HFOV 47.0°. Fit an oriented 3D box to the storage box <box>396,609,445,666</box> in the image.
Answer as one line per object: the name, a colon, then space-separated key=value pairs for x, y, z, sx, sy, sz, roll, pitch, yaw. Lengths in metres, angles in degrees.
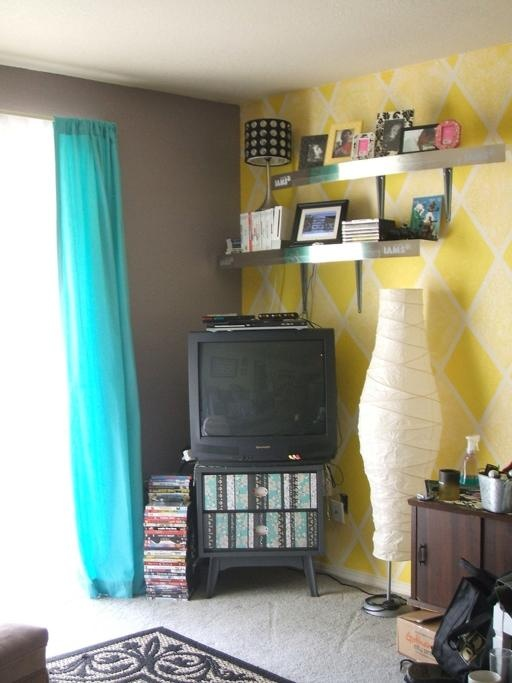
storage box: x=0.569 y=1.046 z=2.090 sx=0.180 sy=0.134 sz=0.180 roll=2 pitch=-4 yaw=-25

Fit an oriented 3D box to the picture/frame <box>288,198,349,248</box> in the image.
picture/frame: x=0.324 y=-0.582 z=2.960 sx=0.344 sy=0.293 sz=0.025 roll=0 pitch=-24 yaw=38

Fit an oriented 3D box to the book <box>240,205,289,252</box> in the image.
book: x=0.054 y=-0.582 z=3.108 sx=0.163 sy=0.271 sz=0.288 roll=1 pitch=-4 yaw=-40

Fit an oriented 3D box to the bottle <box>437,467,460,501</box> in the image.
bottle: x=0.704 y=0.531 z=2.186 sx=0.096 sy=0.110 sz=0.095 roll=1 pitch=-3 yaw=-25

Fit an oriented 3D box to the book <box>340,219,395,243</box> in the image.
book: x=0.489 y=-0.488 z=2.636 sx=0.132 sy=0.082 sz=0.170 roll=2 pitch=6 yaw=27

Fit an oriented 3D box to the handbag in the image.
handbag: x=0.655 y=0.839 z=1.771 sx=0.183 sy=0.322 sz=0.220 roll=0 pitch=-3 yaw=-16

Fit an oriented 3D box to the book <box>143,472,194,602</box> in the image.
book: x=-0.412 y=0.931 z=2.809 sx=0.240 sy=0.540 sz=0.207 roll=0 pitch=-3 yaw=-7
